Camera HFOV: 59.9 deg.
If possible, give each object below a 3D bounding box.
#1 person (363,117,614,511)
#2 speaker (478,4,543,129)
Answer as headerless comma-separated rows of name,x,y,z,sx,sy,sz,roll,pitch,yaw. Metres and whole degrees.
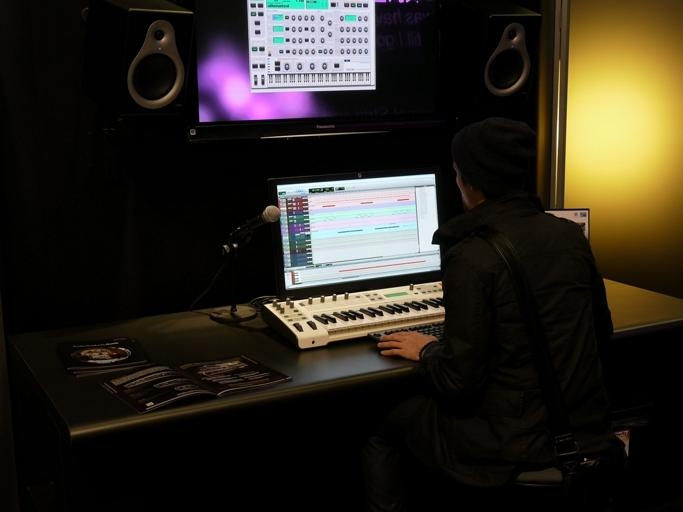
person,0.450,0.327,1.833,0.830,0.994,0.459,-3,13,8
speaker,0.809,-0.853,2.742,0.251,0.551,0.505,6,17,39
